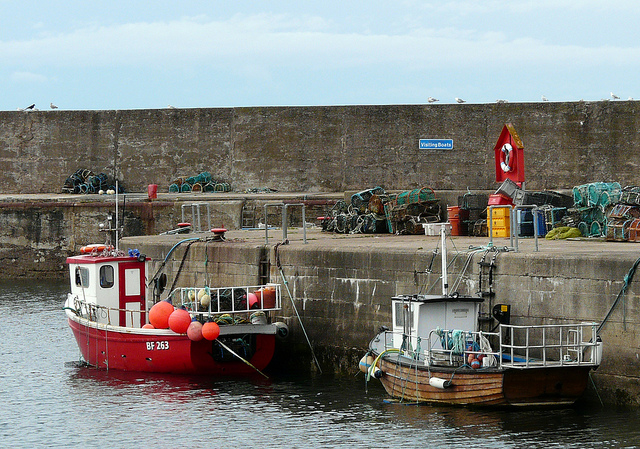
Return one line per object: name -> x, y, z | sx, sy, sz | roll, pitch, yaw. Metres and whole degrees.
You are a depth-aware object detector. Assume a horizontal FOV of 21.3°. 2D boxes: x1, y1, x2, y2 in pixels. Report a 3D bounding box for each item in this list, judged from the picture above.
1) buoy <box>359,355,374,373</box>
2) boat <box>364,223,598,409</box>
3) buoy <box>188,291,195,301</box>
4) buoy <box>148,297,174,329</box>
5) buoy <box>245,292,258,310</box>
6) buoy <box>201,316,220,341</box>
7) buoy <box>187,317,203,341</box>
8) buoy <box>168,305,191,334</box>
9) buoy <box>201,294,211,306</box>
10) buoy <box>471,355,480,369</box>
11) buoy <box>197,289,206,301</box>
buoy -> 1.055, 3.177, 38.818 | 0.227, 0.381, 0.750 | -2, 3, -14
boat -> 3.108, 2.138, 38.814 | 3.331, 4.029, 6.210 | 1, -1, -37
buoy -> -2.999, 1.661, 40.418 | 0.141, 0.188, 0.167 | 27, -41, -30
buoy -> -3.684, 2.151, 39.895 | 0.573, 0.700, 0.599 | -6, -12, 29
buoy -> -1.575, 1.794, 40.106 | 0.230, 0.355, 0.223 | -2, 3, -11
buoy -> -2.457, 2.373, 39.193 | 0.391, 0.547, 0.394 | -13, -1, 9
buoy -> -2.854, 2.456, 39.283 | 0.379, 0.450, 0.294 | -1, 3, 13
buoy -> -3.231, 2.234, 39.331 | 0.507, 0.562, 0.236 | -2, 3, -5
buoy -> -2.675, 1.766, 39.907 | 0.122, 0.252, 0.276 | -4, 4, -42
buoy -> 3.408, 3.057, 37.468 | 0.162, 0.224, 0.164 | -2, -5, 20
buoy -> -2.804, 1.647, 40.248 | 0.151, 0.204, 0.128 | -1, -30, 19
